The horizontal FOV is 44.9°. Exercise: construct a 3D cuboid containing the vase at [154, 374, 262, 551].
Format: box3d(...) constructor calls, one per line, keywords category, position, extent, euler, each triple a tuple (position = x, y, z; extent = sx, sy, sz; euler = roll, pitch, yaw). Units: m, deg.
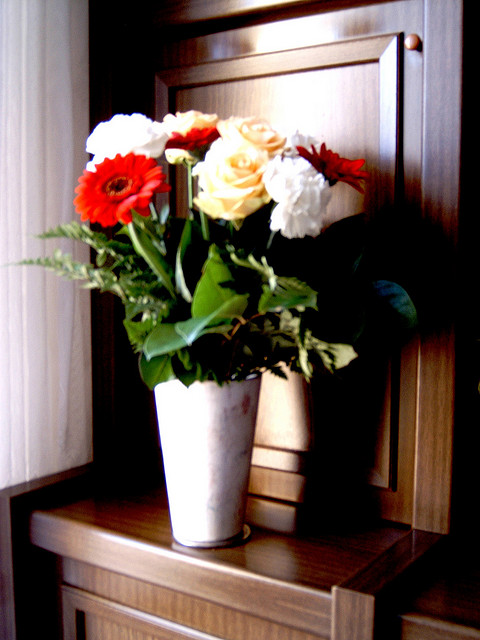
box3d(category="vase", position=(-0.045, 0.176, 0.753), extent=(0.124, 0.221, 0.134), euler=(-2, 4, -7))
